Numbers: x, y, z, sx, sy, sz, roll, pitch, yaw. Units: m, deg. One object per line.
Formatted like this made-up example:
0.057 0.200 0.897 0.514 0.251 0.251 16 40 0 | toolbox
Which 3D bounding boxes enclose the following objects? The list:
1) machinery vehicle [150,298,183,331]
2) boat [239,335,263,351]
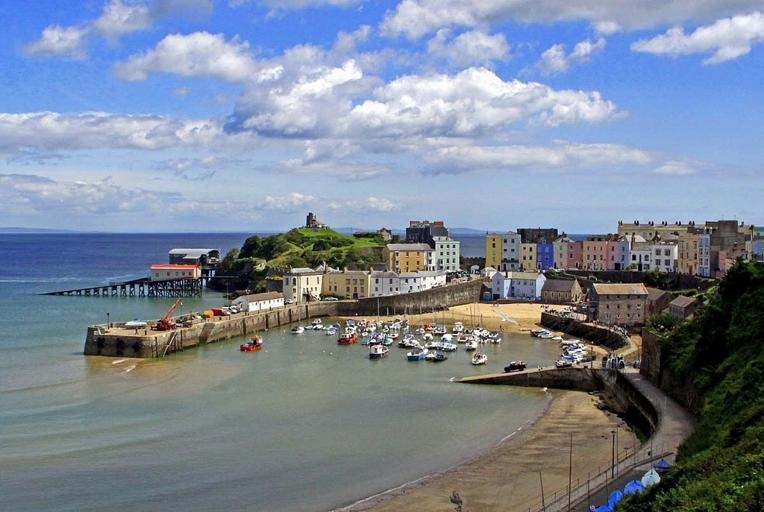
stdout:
-29.264 7.962 87.217 2.158 3.124 5.674 6 13 26 | machinery vehicle
-14.348 9.691 71.376 0.990 0.816 2.854 7 14 16 | boat
